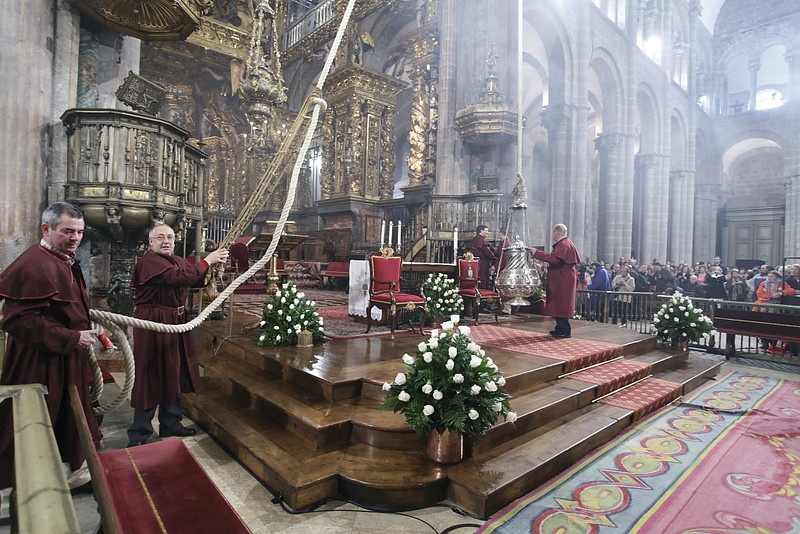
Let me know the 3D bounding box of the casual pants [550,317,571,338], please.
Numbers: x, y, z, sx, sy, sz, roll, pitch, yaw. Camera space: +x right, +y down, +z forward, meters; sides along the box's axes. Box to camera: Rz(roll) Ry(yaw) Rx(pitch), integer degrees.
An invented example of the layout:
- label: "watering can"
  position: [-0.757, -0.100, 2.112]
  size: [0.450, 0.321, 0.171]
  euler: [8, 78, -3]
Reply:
- label: "casual pants"
  position: [2.964, 1.117, 10.333]
  size: [0.437, 0.450, 0.272]
  euler: [4, 0, 16]

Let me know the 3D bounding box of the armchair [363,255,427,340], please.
- label: "armchair"
  position: [-0.032, 0.432, 10.132]
  size: [1.136, 1.399, 1.115]
  euler: [3, 4, 10]

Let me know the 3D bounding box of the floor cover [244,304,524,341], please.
- label: "floor cover"
  position: [-0.532, 1.032, 10.592]
  size: [4.923, 0.017, 4.373]
  euler: [3, -11, 21]

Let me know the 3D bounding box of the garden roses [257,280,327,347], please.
- label: "garden roses"
  position: [-1.850, 0.782, 9.358]
  size: [1.009, 1.003, 1.158]
  euler: [-8, -9, 36]

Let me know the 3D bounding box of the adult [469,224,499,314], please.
- label: "adult"
  position: [1.925, -0.207, 12.488]
  size: [0.703, 1.408, 0.629]
  euler: [-1, 22, 7]

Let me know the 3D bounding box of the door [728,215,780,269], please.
- label: "door"
  position: [17.176, -1.245, 27.301]
  size: [0.289, 3.208, 2.925]
  euler: [1, -1, -42]

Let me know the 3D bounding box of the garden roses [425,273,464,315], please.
- label: "garden roses"
  position: [0.911, 0.494, 10.741]
  size: [0.794, 0.768, 0.772]
  euler: [0, 3, -31]

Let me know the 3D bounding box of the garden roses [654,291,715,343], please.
- label: "garden roses"
  position: [5.421, 0.890, 11.078]
  size: [1.073, 0.976, 1.008]
  euler: [-2, 3, -21]

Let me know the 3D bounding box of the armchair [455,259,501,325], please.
- label: "armchair"
  position: [1.638, 0.425, 11.573]
  size: [0.992, 1.277, 0.926]
  euler: [3, 4, -18]
